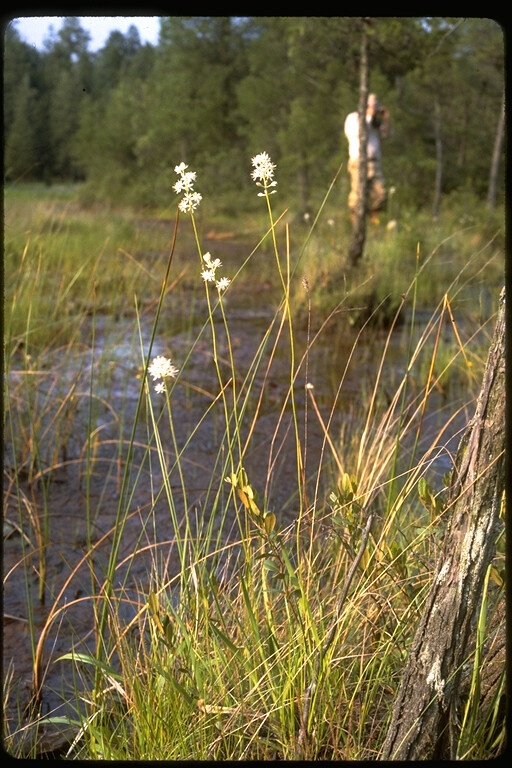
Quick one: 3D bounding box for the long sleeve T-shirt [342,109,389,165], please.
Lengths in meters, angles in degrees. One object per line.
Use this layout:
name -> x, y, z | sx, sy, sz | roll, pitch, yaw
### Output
long sleeve T-shirt -> 0.703, -1.658, 6.467 | 0.164, 0.426, 0.397 | -2, 9, 30
